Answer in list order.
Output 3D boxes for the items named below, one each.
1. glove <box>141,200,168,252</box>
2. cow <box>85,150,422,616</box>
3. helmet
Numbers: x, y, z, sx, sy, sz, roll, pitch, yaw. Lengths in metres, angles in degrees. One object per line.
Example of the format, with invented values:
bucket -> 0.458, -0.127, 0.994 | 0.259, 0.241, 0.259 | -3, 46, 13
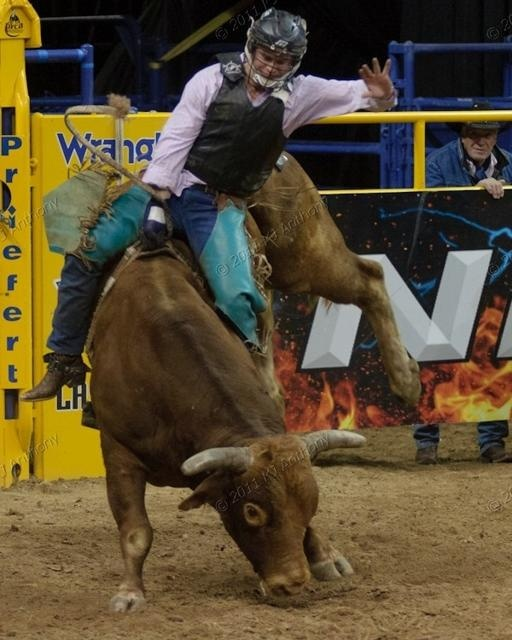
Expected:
glove -> -0.440, -0.426, 4.488 | 0.181, 0.188, 0.101 | 0, -4, -22
cow -> -0.078, 0.163, 4.607 | 1.318, 0.766, 2.595 | -3, 29, -3
helmet -> 0.093, -1.227, 4.475 | 0.270, 0.374, 0.310 | 7, 9, -2
